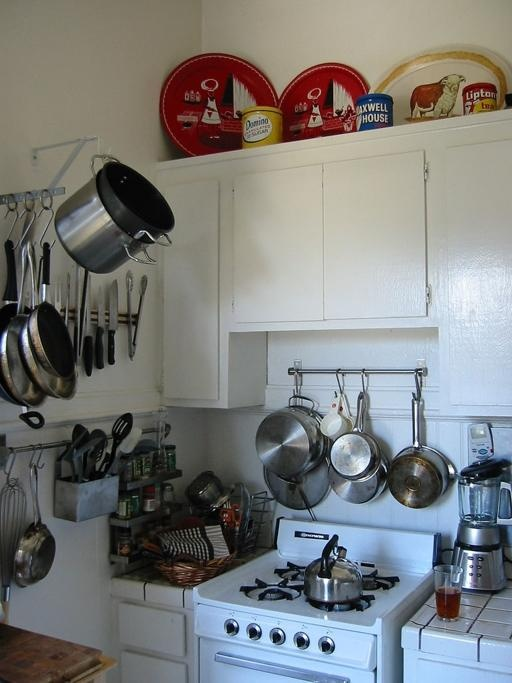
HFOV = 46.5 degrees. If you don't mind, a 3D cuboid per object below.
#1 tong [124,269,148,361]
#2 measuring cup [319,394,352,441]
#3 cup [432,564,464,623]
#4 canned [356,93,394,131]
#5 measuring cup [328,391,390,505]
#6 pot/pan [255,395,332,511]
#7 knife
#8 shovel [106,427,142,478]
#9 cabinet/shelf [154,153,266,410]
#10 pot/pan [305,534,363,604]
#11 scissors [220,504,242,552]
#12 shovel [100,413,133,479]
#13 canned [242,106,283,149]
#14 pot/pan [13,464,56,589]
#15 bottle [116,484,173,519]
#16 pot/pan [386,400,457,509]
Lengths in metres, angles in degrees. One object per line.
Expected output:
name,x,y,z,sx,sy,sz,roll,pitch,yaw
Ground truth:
tong,-0.402,-0.079,1.938,0.060,0.285,0.175,-1,-1,4
measuring cup,0.271,0.270,2.026,0.085,0.166,0.063,-18,-38,40
cup,0.485,0.619,1.510,0.080,0.197,0.069,1,0,-32
canned,0.354,-0.672,1.759,0.107,0.126,0.113,0,3,12
measuring cup,0.322,0.350,1.934,0.203,0.368,0.081,-2,-4,40
pot/pan,0.133,0.396,2.108,0.219,0.455,0.191,3,7,29
knife,-0.475,-0.048,1.773,0.073,0.297,0.054,2,8,-2
shovel,-0.410,0.319,1.807,0.029,0.047,0.223,-14,32,25
cabinet/shelf,-0.167,-0.194,2.193,0.317,0.873,0.306,-1,-2,30
pot/pan,0.209,0.627,1.646,0.151,0.157,0.170,0,-5,21
scissors,-0.092,0.634,2.001,0.045,0.134,0.070,-1,-6,-12
shovel,-0.423,0.314,1.779,0.028,0.205,0.044,-13,-48,21
canned,0.015,-0.700,1.957,0.126,0.144,0.140,1,11,18
pot/pan,-0.573,0.463,1.502,0.058,0.291,0.106,-1,-1,6
bottle,-0.371,0.510,1.885,0.047,0.065,0.175,-6,-10,26
pot/pan,0.524,0.334,1.877,0.171,0.366,0.092,5,8,34
